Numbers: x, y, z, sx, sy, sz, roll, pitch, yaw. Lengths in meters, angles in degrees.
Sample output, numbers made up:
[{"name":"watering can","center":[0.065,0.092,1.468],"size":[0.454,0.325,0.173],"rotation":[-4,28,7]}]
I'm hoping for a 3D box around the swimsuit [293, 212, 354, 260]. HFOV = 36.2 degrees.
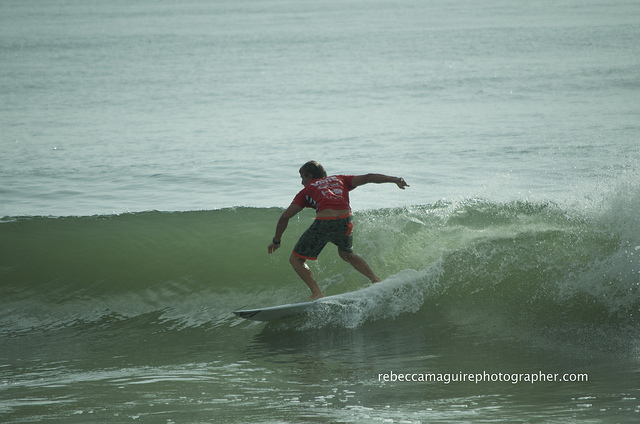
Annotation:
[{"name":"swimsuit","center":[0.208,0.563,23.301],"size":[1.832,0.948,0.748],"rotation":[-7,22,-38]}]
